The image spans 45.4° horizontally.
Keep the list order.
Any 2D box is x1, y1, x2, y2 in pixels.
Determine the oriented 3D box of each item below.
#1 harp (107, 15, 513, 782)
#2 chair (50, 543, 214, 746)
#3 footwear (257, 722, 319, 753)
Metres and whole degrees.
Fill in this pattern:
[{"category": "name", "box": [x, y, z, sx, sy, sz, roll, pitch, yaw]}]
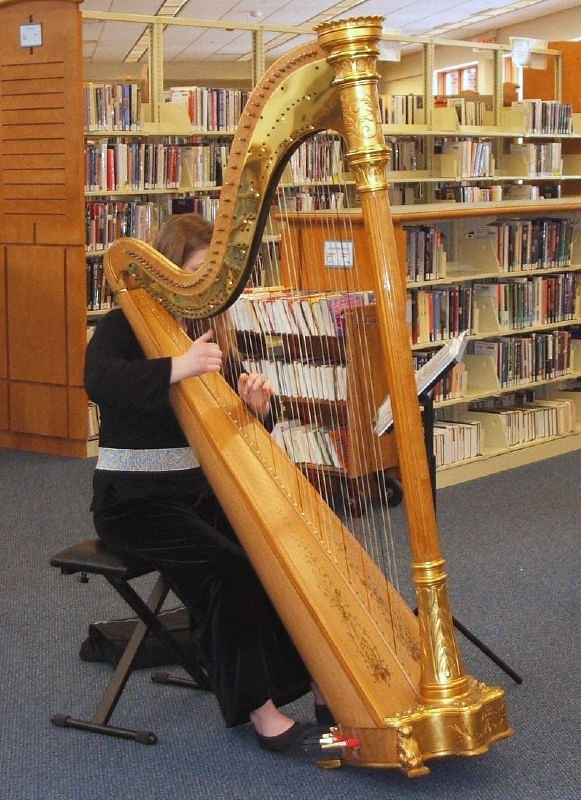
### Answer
[{"category": "harp", "box": [0.075, 0.077, 1.287, 0.447, 1.161, 0.869, -3, 8, -20]}, {"category": "chair", "box": [-0.359, 0.598, 1.815, 0.316, 0.406, 0.427, -8, -7, 32]}, {"category": "footwear", "box": [-0.008, 0.781, 1.581, 0.137, 0.049, 0.075, -10, 0, 20]}]
